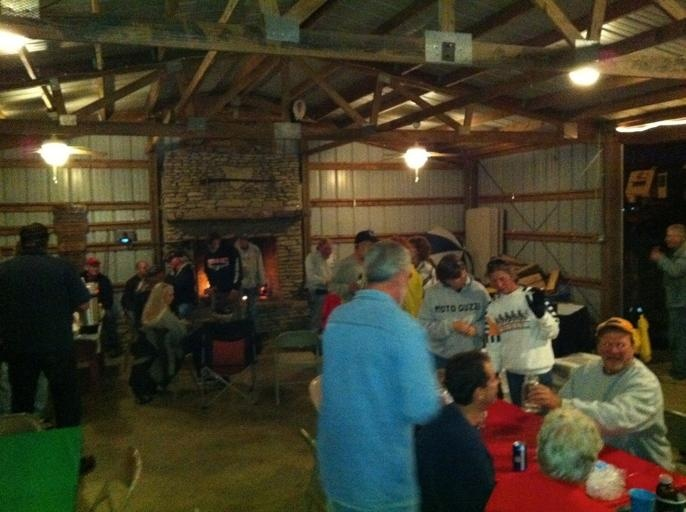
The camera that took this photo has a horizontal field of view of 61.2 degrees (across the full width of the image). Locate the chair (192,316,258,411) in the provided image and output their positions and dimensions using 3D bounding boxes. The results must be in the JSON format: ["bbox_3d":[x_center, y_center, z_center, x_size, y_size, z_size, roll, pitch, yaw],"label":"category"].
[{"bbox_3d":[-1.456,1.367,7.496,0.911,0.950,0.829,-1,-1,2],"label":"chair"}]

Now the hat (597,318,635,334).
[{"bbox_3d":[2.291,0.558,4.802,0.181,0.068,0.249,-5,-18,39],"label":"hat"}]

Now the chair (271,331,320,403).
[{"bbox_3d":[-0.650,1.545,8.262,0.875,0.910,0.887,4,-9,-31],"label":"chair"}]
